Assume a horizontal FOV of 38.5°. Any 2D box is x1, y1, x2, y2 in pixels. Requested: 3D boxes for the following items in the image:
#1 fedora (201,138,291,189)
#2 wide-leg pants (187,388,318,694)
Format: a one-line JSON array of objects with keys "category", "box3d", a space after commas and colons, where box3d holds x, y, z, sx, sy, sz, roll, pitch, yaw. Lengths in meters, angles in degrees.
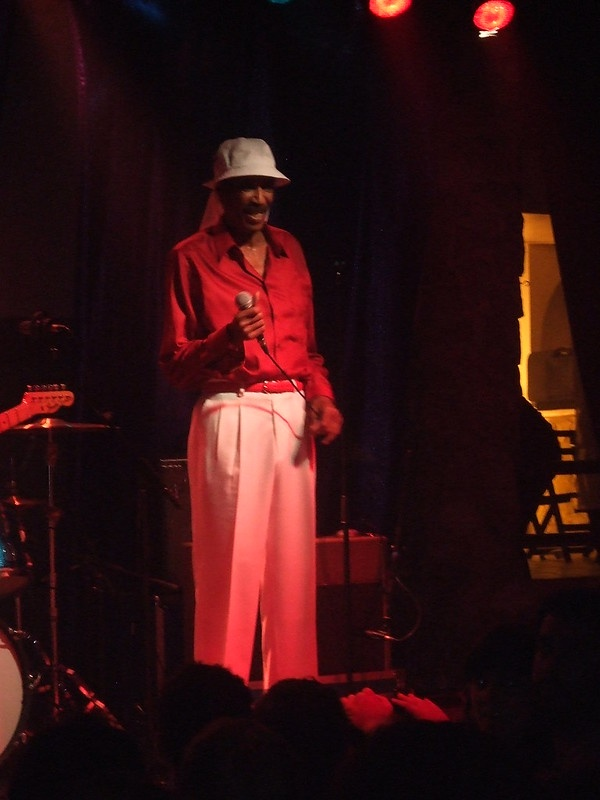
[{"category": "fedora", "box3d": [-0.176, -0.680, 2.552, 0.194, 0.082, 0.167, -5, 4, 4]}, {"category": "wide-leg pants", "box3d": [-0.132, 0.406, 2.527, 0.404, 0.867, 0.170, 9, -8, -25]}]
